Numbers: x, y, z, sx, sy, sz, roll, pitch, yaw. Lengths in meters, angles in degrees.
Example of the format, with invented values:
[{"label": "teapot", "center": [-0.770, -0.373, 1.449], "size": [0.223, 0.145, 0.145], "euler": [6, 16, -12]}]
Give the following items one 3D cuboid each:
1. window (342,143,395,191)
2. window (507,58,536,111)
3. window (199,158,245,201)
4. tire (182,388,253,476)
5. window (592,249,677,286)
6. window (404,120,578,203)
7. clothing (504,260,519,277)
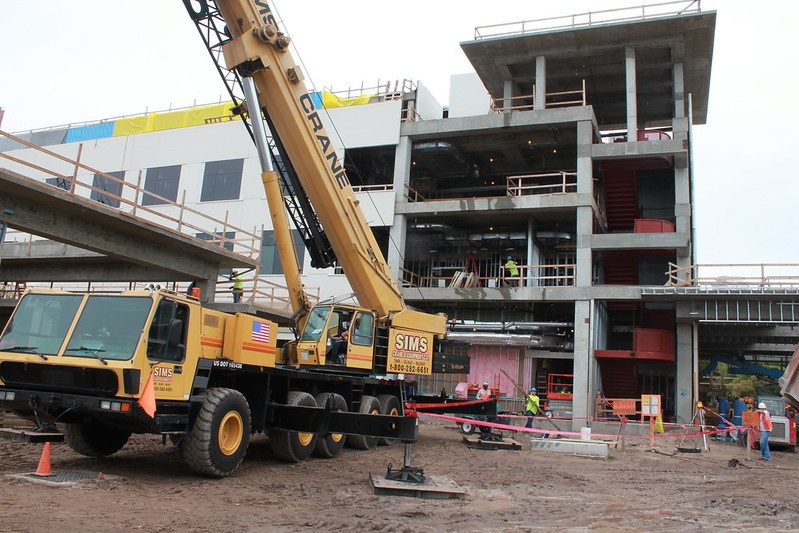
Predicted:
[{"label": "window", "center": [-1.835, -5.678, 42.834], "size": [2.740, 0.801, 3.573], "euler": [-4, -36, 1]}, {"label": "window", "center": [6.884, -10.471, 41.099], "size": [1.914, 0.768, 3.839], "euler": [2, -8, 10]}, {"label": "window", "center": [-10.366, -5.048, 42.186], "size": [3.530, 2.506, 0.128], "euler": [0, -10, 20]}, {"label": "tire", "center": [-4.407, 4.014, 17.442], "size": [0.510, 2.133, 1.409], "euler": [0, -8, 38]}, {"label": "window", "center": [12.461, 0.026, 39.559], "size": [4.163, 1.550, 2.474], "euler": [1, -1, 6]}, {"label": "window", "center": [5.255, -6.053, 40.489], "size": [6.186, 1.052, 4.935], "euler": [-2, -12, 20]}, {"label": "clothing", "center": [5.613, 0.049, 36.410], "size": [0.588, 0.826, 1.342], "euler": [4, -5, 10]}]
